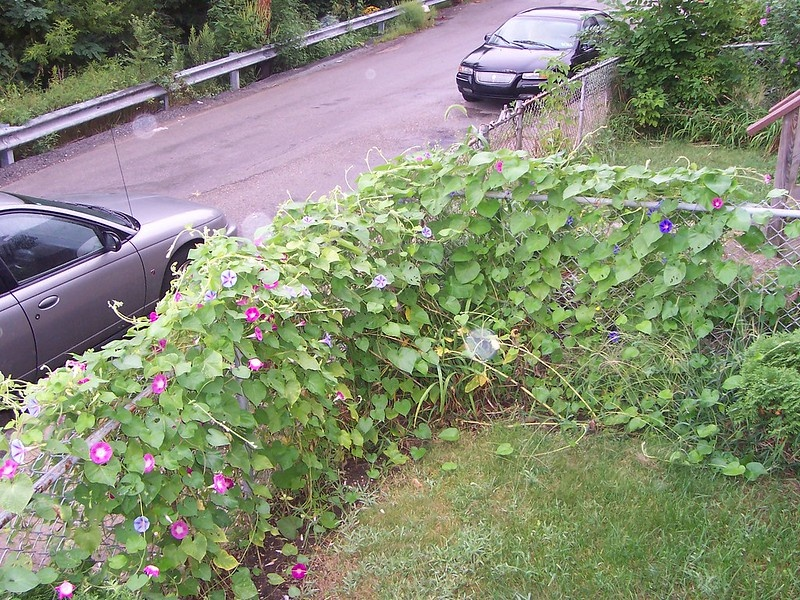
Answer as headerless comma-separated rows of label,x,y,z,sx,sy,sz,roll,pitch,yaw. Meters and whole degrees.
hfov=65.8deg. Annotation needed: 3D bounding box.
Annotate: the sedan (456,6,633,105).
sedan,2.746,-4.315,11.916,2.089,1.519,3.518,23,50,32
